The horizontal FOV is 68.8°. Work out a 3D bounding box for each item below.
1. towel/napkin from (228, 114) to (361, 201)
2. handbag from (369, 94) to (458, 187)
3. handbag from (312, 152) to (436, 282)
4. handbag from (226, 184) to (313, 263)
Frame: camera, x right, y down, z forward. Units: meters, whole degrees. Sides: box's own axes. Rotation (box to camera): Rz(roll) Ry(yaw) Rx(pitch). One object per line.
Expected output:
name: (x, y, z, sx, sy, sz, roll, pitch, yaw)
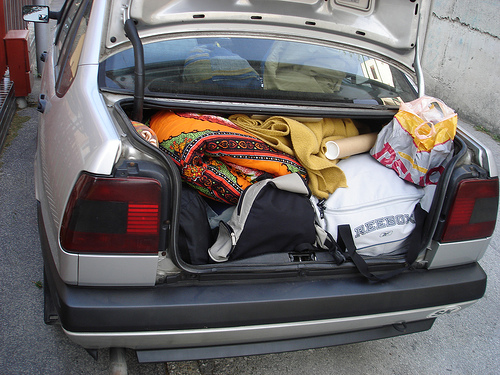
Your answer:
towel/napkin: (0.248, -0.123, 2.110, 0.620, 0.182, 0.580, -5, 30, -32)
handbag: (0.949, -0.282, 2.071, 0.283, 0.403, 0.405, -22, 47, -21)
handbag: (0.669, 0.201, 2.086, 0.700, 0.194, 0.564, -11, 61, -8)
handbag: (0.108, 0.158, 1.809, 0.445, 0.291, 0.273, -1, 36, -11)
